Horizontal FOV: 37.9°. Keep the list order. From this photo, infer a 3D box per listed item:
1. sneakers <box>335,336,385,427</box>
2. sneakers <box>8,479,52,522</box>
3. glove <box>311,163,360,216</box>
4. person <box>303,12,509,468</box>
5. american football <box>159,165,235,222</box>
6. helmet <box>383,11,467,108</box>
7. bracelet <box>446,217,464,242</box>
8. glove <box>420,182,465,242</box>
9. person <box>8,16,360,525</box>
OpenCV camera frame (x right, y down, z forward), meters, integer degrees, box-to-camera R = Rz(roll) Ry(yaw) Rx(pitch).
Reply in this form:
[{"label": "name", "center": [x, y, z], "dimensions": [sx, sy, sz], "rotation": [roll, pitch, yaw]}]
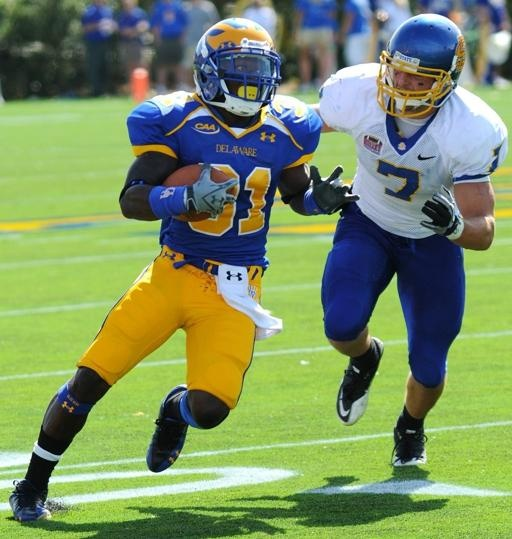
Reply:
[{"label": "sneakers", "center": [0.421, 0.449, 3.074], "dimensions": [0.158, 0.370, 0.160], "rotation": [25, 2, 28]}, {"label": "sneakers", "center": [-0.698, 0.692, 2.262], "dimensions": [0.107, 0.093, 0.179], "rotation": [-5, 10, -18]}, {"label": "glove", "center": [0.291, -0.288, 2.661], "dimensions": [0.169, 0.168, 0.166], "rotation": [-7, 22, -24]}, {"label": "person", "center": [0.567, -0.135, 2.917], "dimensions": [0.881, 1.582, 0.799], "rotation": [6, 20, 15]}, {"label": "american football", "center": [-0.182, -0.252, 2.409], "dimensions": [0.261, 0.119, 0.168], "rotation": [-7, 19, 4]}, {"label": "helmet", "center": [0.595, -0.740, 2.678], "dimensions": [0.303, 0.389, 0.345], "rotation": [1, 11, 13]}, {"label": "bracelet", "center": [0.629, -0.126, 2.344], "dimensions": [0.033, 0.065, 0.056], "rotation": [13, -9, 0]}, {"label": "glove", "center": [0.590, -0.186, 2.392], "dimensions": [0.190, 0.157, 0.199], "rotation": [2, 22, 7]}, {"label": "person", "center": [-0.267, -0.071, 2.439], "dimensions": [0.496, 1.536, 1.087], "rotation": [6, 14, 35]}]
